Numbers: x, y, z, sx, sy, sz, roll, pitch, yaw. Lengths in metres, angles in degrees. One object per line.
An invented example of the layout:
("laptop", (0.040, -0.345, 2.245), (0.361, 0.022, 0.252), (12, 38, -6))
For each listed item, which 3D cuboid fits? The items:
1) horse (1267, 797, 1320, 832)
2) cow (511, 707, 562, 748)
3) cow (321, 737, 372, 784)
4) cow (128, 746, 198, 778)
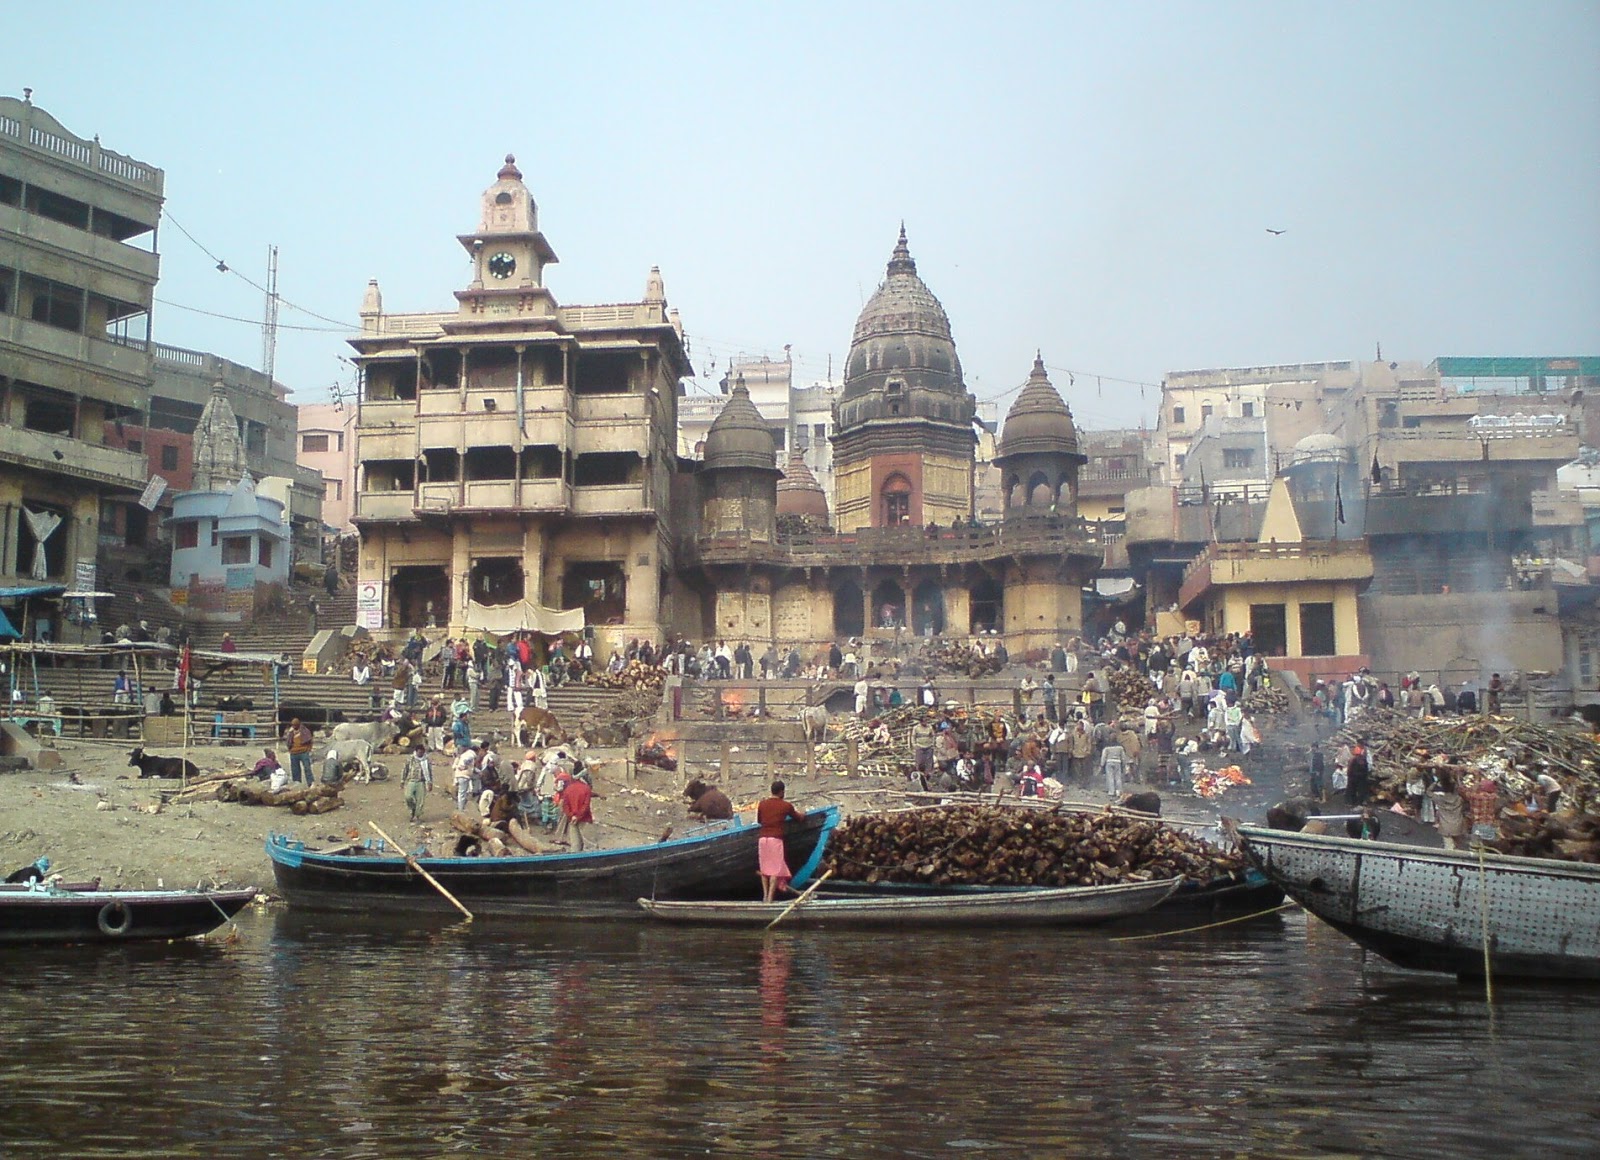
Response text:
("horse", (8.827, 4.188, 37.523), (0.642, 0.490, 0.932), (-4, -6, 21))
("cow", (-6.290, 3.464, 49.222), (0.992, 0.926, 1.498), (0, -8, -7))
("cow", (-9.585, 3.775, 44.171), (1.095, 0.964, 0.700), (3, -8, -26))
("cow", (-13.412, 3.865, 44.068), (2.231, 0.626, 1.000), (-8, -10, 42))
